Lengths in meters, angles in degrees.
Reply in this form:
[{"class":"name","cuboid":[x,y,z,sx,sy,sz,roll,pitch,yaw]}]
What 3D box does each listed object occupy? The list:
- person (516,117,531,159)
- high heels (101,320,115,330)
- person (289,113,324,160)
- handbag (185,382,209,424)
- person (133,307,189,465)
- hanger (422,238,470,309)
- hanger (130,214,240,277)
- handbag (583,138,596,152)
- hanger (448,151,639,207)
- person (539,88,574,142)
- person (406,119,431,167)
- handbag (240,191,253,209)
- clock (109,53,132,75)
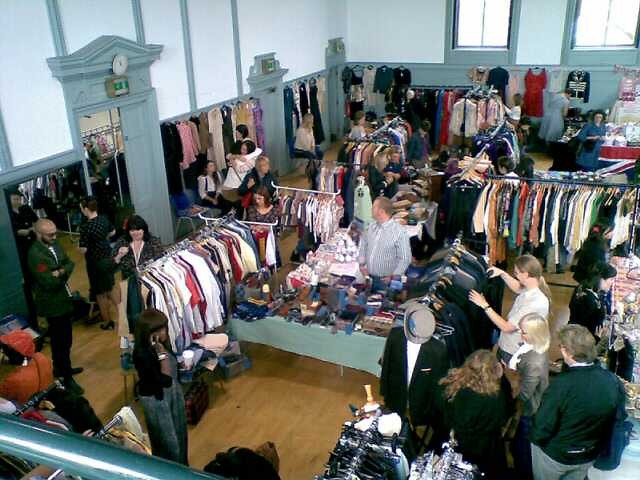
[{"class":"person","cuboid":[4.436,-2.239,10.230,0.265,0.738,0.273,12,28,27]},{"class":"high heels","cuboid":[-2.818,1.114,6.222,0.212,0.103,0.076,5,12,41]},{"class":"person","cuboid":[-0.289,-2.214,10.155,0.651,1.003,0.587,9,22,29]},{"class":"handbag","cuboid":[-1.320,1.711,4.918,0.181,0.247,0.356,0,12,7]},{"class":"person","cuboid":[-1.228,1.162,3.609,0.302,1.353,0.240,-10,20,-21]},{"class":"hanger","cuboid":[1.179,0.326,4.442,0.419,0.273,0.707,-11,55,-3]},{"class":"hanger","cuboid":[-1.612,0.060,5.555,1.468,0.152,0.162,-38,-6,-42]},{"class":"handbag","cuboid":[5.372,-1.897,9.384,0.212,0.233,0.164,15,2,2]},{"class":"hanger","cuboid":[3.266,-0.879,6.792,1.836,0.463,1.139,7,34,12]},{"class":"person","cuboid":[5.666,-2.935,11.412,0.560,1.230,0.571,11,24,35]},{"class":"person","cuboid":[1.875,-1.834,8.989,0.398,0.809,0.710,1,20,10]},{"class":"handbag","cuboid":[-1.117,-0.599,7.143,0.158,0.314,0.091,8,9,8]},{"class":"clock","cuboid":[-2.862,-2.486,6.681,0.103,0.265,0.264,6,21,22]}]
